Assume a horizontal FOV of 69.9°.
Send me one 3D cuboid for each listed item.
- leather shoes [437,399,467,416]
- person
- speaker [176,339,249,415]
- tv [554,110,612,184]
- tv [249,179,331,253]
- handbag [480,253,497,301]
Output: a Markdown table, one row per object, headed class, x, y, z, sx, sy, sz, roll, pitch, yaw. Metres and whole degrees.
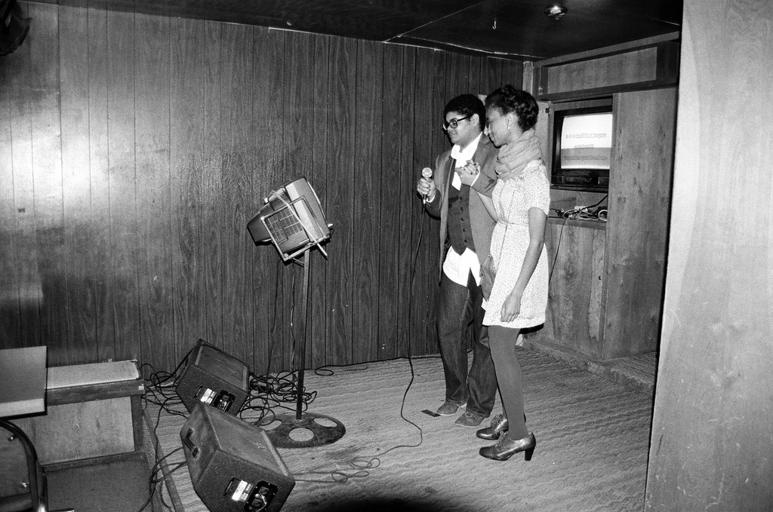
| class | x | y | z | sx | sy | sz | roll | pitch | yaw |
| --- | --- | --- | --- | --- | --- | --- | --- | --- | --- |
| leather shoes | 0.490 | 1.143 | 4.194 | 0.196 | 0.081 | 0.106 | -3 | 3 | -18 |
| person | 0.688 | 0.107 | 3.749 | 0.511 | 2.404 | 1.011 | -8 | 10 | -25 |
| speaker | -1.236 | 0.883 | 4.020 | 0.412 | 0.344 | 0.701 | 28 | -1 | -15 |
| tv | 1.838 | -1.011 | 5.133 | 0.394 | 0.644 | 0.649 | -9 | 12 | -43 |
| tv | -0.640 | -0.264 | 3.966 | 0.578 | 0.436 | 0.251 | -30 | 3 | 19 |
| handbag | 0.655 | 0.151 | 3.541 | 0.085 | 0.296 | 0.262 | -2 | 9 | 8 |
